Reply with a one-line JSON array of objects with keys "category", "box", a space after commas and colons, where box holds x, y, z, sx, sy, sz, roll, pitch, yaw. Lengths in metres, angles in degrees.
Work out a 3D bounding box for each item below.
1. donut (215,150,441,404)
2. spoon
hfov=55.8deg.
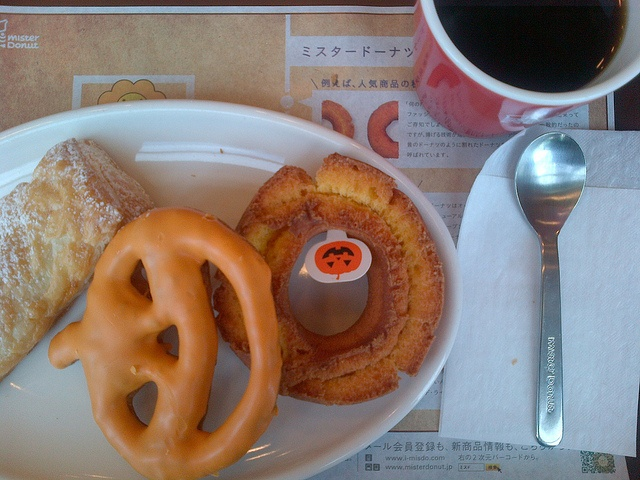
[{"category": "donut", "box": [0.040, 0.077, 1.355, 0.490, 0.136, 0.518, 37, 97, 7]}, {"category": "spoon", "box": [0.507, 0.099, 1.382, 0.159, 0.100, 0.706, 8, 77, 0]}]
